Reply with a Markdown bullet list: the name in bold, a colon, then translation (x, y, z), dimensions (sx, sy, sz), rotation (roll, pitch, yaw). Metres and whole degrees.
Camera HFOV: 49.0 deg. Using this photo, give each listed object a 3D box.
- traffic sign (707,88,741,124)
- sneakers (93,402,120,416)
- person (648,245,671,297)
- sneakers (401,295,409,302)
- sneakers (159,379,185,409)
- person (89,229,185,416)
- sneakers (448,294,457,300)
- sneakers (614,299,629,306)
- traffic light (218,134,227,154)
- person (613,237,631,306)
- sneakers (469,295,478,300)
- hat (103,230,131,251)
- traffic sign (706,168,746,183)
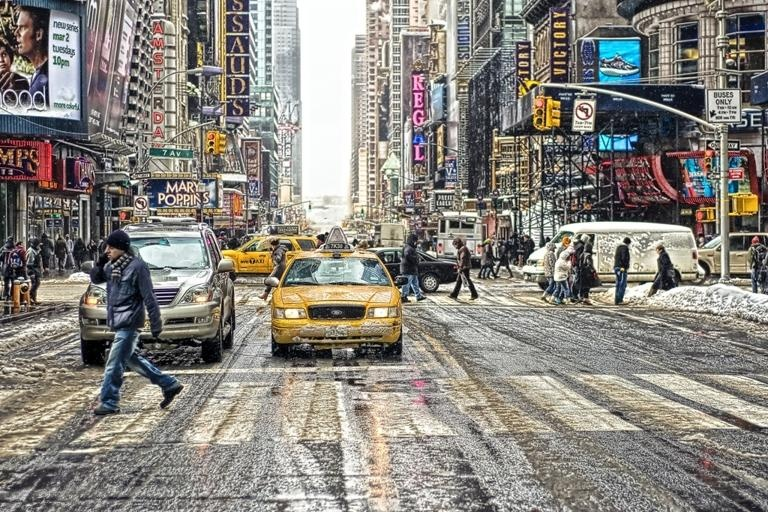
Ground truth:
- **traffic sign**: translation (10.561, -4.675, 26.250), dimensions (1.042, 1.118, 1.040), rotation (3, -2, -3)
- **sneakers**: translation (-3.826, 2.114, 11.641), dimensions (0.313, 0.144, 0.149), rotation (4, 2, -5)
- **person**: translation (9.270, 0.488, 28.261), dimensions (0.770, 1.840, 1.364), rotation (-2, 4, 11)
- **sneakers**: translation (0.681, 1.451, 28.136), dimensions (0.210, 0.169, 0.378), rotation (-1, -9, 0)
- **sneakers**: translation (-3.005, 1.951, 11.994), dimensions (0.247, 0.555, 0.197), rotation (27, 22, -15)
- **person**: translation (-3.542, 0.899, 11.857), dimensions (1.148, 2.530, 0.700), rotation (-3, 4, -6)
- **sneakers**: translation (2.357, 1.417, 29.323), dimensions (0.107, 0.216, 0.308), rotation (-1, 19, -32)
- **sneakers**: translation (7.931, 1.561, 28.309), dimensions (0.557, 0.236, 0.191), rotation (-2, 6, -41)
- **traffic light**: translation (-10.278, -7.134, 53.307), dimensions (0.491, 1.290, 1.235), rotation (-4, 4, -19)
- **person**: translation (7.908, 0.498, 28.240), dimensions (0.482, 2.165, 1.056), rotation (-1, 4, 16)
- **sneakers**: translation (2.996, 1.436, 28.814), dimensions (0.310, 0.224, 0.112), rotation (13, 7, 31)
- **hat**: translation (-3.669, -0.204, 11.715), dimensions (0.198, 0.299, 0.369), rotation (1, 6, 41)
- **traffic sign**: translation (11.277, -2.691, 27.708), dimensions (1.333, 0.334, 0.803), rotation (-2, 1, 9)
